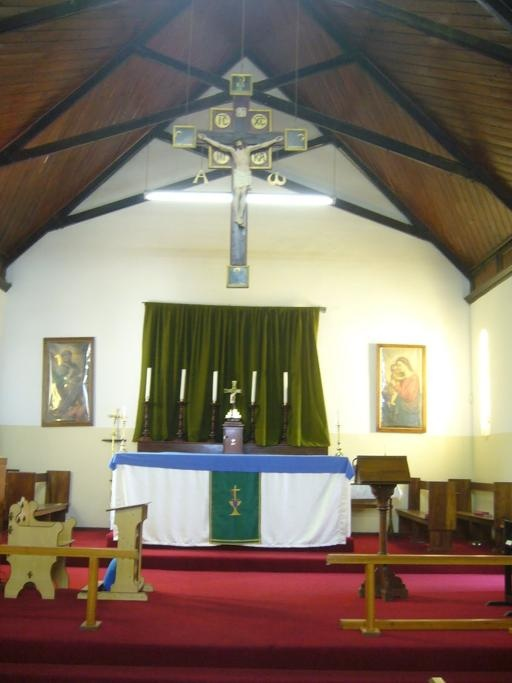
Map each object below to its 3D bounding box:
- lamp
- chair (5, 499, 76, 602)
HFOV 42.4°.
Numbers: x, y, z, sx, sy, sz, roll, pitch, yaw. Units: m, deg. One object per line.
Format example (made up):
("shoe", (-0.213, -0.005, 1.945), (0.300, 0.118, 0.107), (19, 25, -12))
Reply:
("lamp", (0.981, 1.422, 5.197), (0.418, 1.085, 1.627), (0, -5, 12))
("chair", (-1.526, 1.527, 5.040), (0.537, 0.969, 0.602), (-1, -7, -1))
